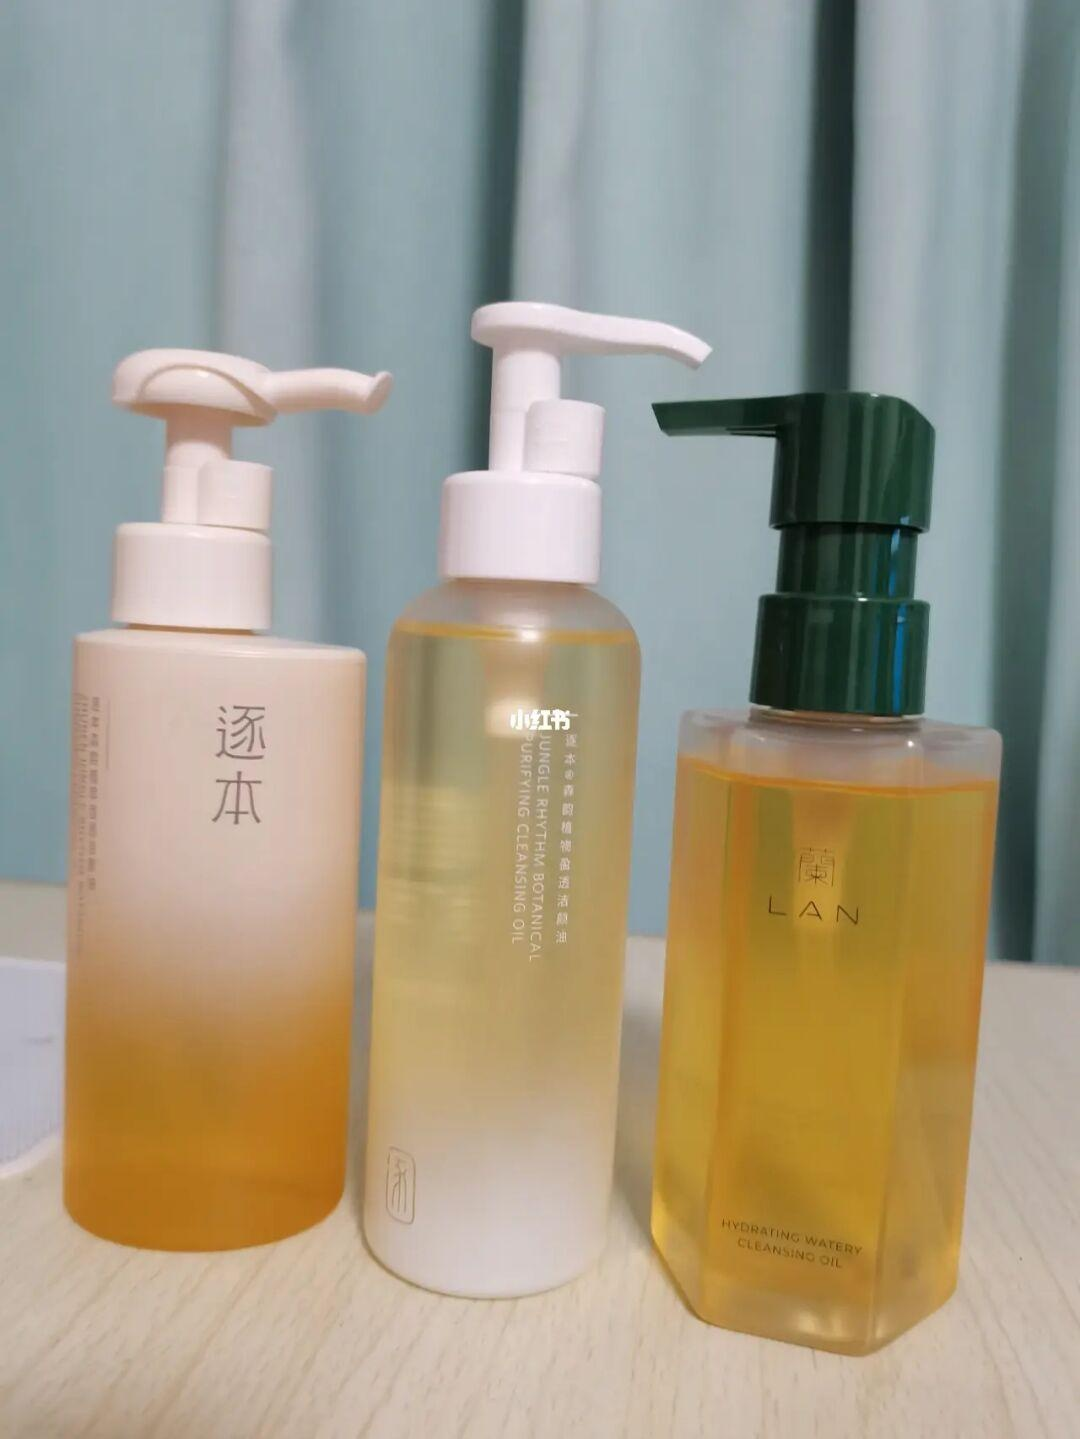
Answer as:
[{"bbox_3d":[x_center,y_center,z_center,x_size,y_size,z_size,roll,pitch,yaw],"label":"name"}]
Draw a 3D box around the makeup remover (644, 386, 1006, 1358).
[{"bbox_3d":[0.072,0.039,0.416,0.101,0.256,0.058,4,8,16],"label":"makeup remover"}]
